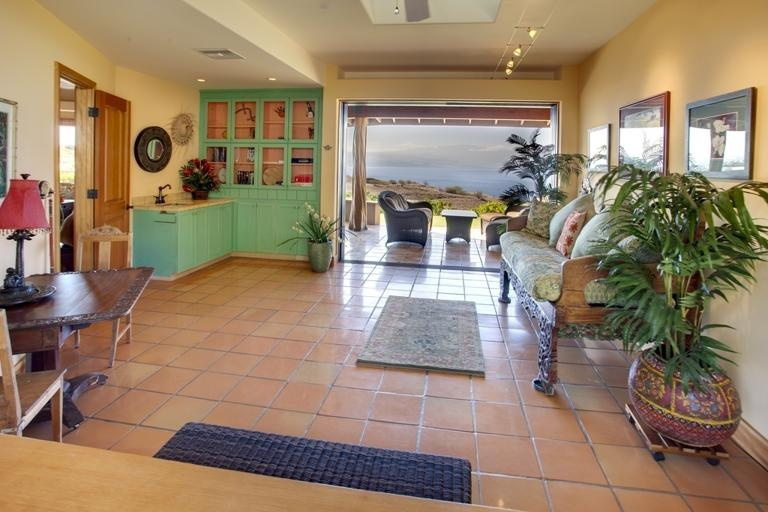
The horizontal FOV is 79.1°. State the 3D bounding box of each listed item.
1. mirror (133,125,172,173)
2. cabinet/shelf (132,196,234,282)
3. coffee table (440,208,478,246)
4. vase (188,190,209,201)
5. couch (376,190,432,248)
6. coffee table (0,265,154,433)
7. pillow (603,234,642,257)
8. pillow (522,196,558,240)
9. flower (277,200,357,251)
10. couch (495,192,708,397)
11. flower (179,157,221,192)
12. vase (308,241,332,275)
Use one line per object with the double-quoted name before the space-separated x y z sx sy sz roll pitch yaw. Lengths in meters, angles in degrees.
"mirror" -3.469 -1.556 6.926 0.136 0.578 0.613 12 27 11
"cabinet/shelf" -3.082 -0.301 7.187 0.680 1.040 1.497 5 12 14
"coffee table" 1.759 -0.606 10.782 0.983 0.641 0.976 2 2 -3
"vase" -3.113 -1.013 7.799 0.236 0.120 0.222 0 1 -17
"couch" 0.432 -0.675 10.726 1.274 1.032 1.983 2 -3 10
"coffee table" -2.203 0.683 3.308 0.662 0.514 1.123 0 17 -8
"pillow" 1.872 -0.084 3.582 0.163 0.080 0.225 10 19 38
"pillow" 2.183 -0.500 6.227 0.164 0.476 0.524 14 9 -38
"flower" -1.220 -0.470 7.688 0.996 0.744 0.793 0 12 -7
"couch" 1.882 0.068 4.932 1.161 1.551 2.794 -1 11 8
"flower" -3.051 -1.389 7.795 0.612 0.505 0.612 14 19 34
"vase" -1.020 0.027 7.368 0.479 0.481 0.470 1 3 28
